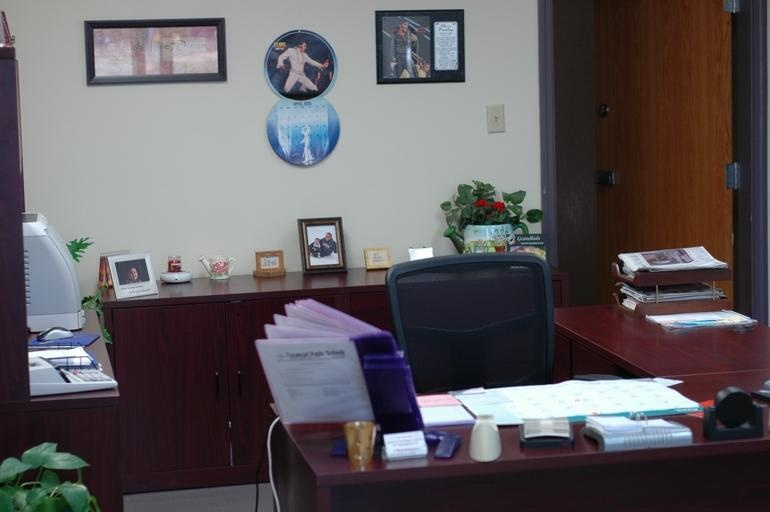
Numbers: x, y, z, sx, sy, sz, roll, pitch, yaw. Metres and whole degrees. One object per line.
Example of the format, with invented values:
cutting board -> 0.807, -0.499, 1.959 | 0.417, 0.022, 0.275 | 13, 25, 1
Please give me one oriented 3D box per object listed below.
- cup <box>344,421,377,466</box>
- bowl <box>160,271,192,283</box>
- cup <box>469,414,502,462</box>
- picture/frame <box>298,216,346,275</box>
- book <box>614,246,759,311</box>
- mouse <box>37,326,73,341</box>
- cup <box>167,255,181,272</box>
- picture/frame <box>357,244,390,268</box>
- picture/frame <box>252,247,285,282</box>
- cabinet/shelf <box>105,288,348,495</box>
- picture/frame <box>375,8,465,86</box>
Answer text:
cup -> -0.066, 0.488, 1.701 | 0.090, 0.097, 0.098 | -1, -4, 0
bowl -> -1.144, 0.116, 3.543 | 0.168, 0.063, 0.107 | -3, 12, -8
cup -> 0.258, 0.481, 1.743 | 0.092, 0.101, 0.102 | 1, 8, 11
picture/frame -> -0.359, -0.056, 3.672 | 0.304, 0.386, 0.037 | -3, -10, -16
book -> 1.193, 0.082, 2.874 | 0.319, 0.211, 0.343 | -2, 6, -14
mouse -> -1.287, 0.303, 2.555 | 0.097, 0.036, 0.058 | 3, -3, -31
cup -> -1.153, 0.043, 3.596 | 0.084, 0.097, 0.084 | 1, 7, 0
picture/frame -> -0.074, 0.004, 3.771 | 0.131, 0.118, 0.018 | 0, -6, -12
picture/frame -> -0.628, 0.053, 3.597 | 0.143, 0.142, 0.157 | 0, -1, -13
cabinet/shelf -> -0.725, 0.543, 2.720 | 0.997, 0.763, 0.357 | -1, 3, -15
picture/frame -> 0.172, -1.218, 3.734 | 0.425, 0.342, 0.042 | 0, 4, -3
